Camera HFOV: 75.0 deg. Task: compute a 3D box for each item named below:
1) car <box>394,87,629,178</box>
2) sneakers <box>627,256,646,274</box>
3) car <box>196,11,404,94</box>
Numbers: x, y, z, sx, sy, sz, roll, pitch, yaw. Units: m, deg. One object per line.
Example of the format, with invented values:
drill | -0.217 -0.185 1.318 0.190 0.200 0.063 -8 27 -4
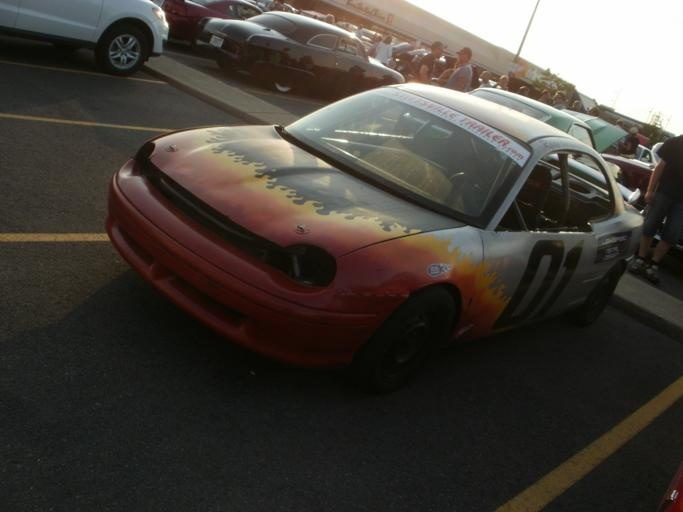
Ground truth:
car | 3.865 -2.857 8.880 3.983 1.715 2.260 -14 29 -35
sneakers | 4.602 0.147 6.965 0.276 0.256 0.607 12 13 37
car | -0.983 -5.531 12.157 4.638 1.403 2.798 -6 34 -33
